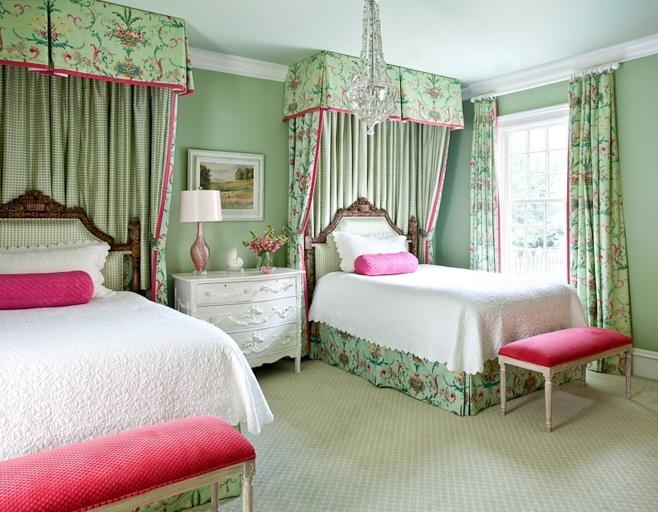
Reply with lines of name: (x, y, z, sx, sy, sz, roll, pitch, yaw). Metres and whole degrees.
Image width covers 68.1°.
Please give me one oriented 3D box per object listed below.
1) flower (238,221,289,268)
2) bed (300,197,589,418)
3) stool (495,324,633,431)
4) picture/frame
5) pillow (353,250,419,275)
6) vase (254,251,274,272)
flower: (-0.641, -0.045, 4.928, 0.369, 0.362, 0.361, 1, 2, 21)
bed: (0.991, 0.295, 4.833, 1.634, 1.617, 2.265, -7, 7, -33)
stool: (1.902, 0.915, 3.877, 1.079, 0.535, 0.475, -6, 5, -30)
picture/frame: (-1.051, -0.706, 4.794, 0.854, 0.719, 0.064, 0, -1, -35)
pillow: (0.591, 0.068, 5.082, 0.568, 0.174, 0.258, 1, -3, -35)
vase: (-0.654, 0.052, 4.914, 0.191, 0.300, 0.207, -1, 1, -6)
